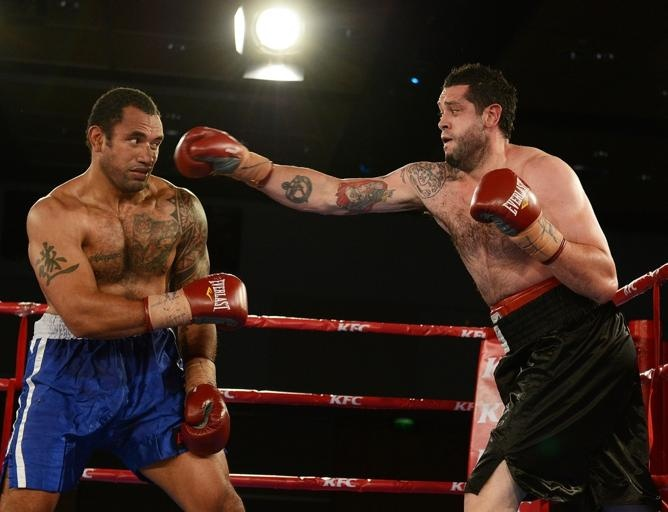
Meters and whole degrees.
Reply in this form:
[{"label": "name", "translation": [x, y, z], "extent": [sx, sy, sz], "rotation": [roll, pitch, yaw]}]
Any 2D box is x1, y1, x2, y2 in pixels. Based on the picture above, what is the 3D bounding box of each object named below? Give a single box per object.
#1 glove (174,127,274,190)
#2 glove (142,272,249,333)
[{"label": "glove", "translation": [-0.488, -0.427, 3.152], "extent": [0.346, 0.240, 0.152], "rotation": [8, -45, -32]}, {"label": "glove", "translation": [-0.558, 0.182, 2.910], "extent": [0.347, 0.213, 0.123], "rotation": [-11, -32, -11]}]
